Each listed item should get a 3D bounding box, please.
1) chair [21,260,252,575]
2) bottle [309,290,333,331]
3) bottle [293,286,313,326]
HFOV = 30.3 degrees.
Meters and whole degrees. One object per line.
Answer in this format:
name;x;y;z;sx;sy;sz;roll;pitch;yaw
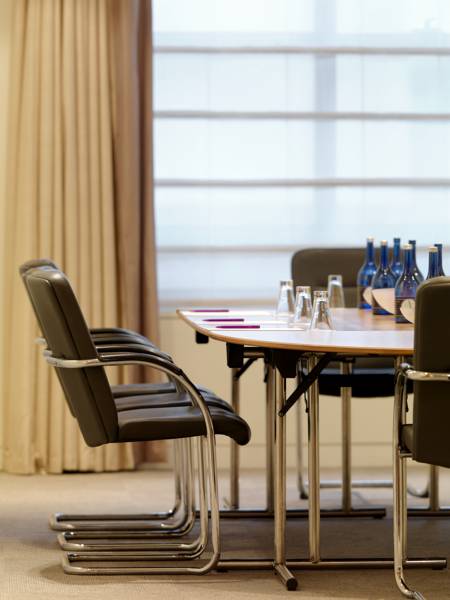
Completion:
chair;-0.219;0.361;2.615;0.780;1.206;0.810;-1;-2;-7
bottle;0.258;0.028;2.274;0.055;0.102;0.129;-3;-2;6
bottle;0.221;0.027;2.380;0.048;0.130;0.049;2;-16;1
